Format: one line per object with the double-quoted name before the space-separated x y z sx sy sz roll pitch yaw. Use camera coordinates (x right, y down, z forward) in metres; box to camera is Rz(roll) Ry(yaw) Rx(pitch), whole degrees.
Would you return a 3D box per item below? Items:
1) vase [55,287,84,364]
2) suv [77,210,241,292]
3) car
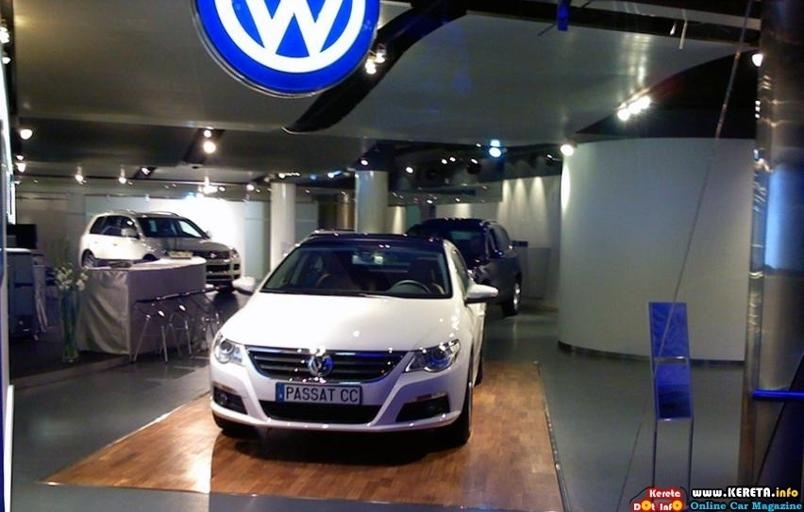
"vase" -4.343 0.882 7.339 0.216 0.929 0.599 -4 7 -30
"suv" -5.937 -0.287 12.267 3.660 1.667 2.127 1 0 26
"car" -0.390 0.723 4.706 1.641 1.013 2.561 3 3 6
